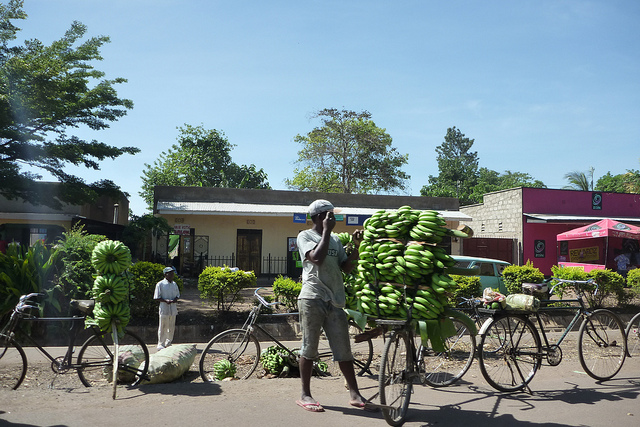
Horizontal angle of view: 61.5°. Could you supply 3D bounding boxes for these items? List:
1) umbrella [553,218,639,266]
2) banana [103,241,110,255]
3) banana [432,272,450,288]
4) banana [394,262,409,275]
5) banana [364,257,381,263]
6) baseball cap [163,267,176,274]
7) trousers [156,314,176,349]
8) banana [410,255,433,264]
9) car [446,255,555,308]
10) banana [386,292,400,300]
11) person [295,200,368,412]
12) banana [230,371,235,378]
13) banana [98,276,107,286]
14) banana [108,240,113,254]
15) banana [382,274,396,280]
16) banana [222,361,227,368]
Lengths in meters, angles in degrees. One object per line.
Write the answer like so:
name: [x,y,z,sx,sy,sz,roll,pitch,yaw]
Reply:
umbrella: [12.197,0.833,23.367,2.739,1.746,2.681,3,-9,-26]
banana: [-4.107,0.681,10.382,0.043,0.238,0.064,-17,13,25]
banana: [2.029,1.122,8.984,0.304,0.229,0.103,2,3,40]
banana: [1.380,0.932,9.059,0.208,0.115,0.067,41,-36,3]
banana: [0.929,0.813,9.265,0.265,0.088,0.022,1,3,28]
baseball cap: [-3.755,1.436,13.447,0.203,0.105,0.141,-23,12,-32]
trousers: [-3.747,2.889,13.161,0.405,0.823,0.676,-1,3,-17]
banana: [1.740,0.777,9.060,0.403,0.143,0.096,12,-11,-2]
car: [5.498,2.532,17.613,4.050,1.784,2.199,1,-2,-14]
banana: [1.242,1.395,9.077,0.256,0.078,0.085,35,-12,15]
person: [0.215,1.527,9.289,1.163,3.501,1.033,0,3,-3]
banana: [-1.705,3.160,10.509,0.146,0.132,0.039,0,-1,-21]
banana: [-4.164,1.306,10.316,0.164,0.173,0.062,2,3,40]
banana: [-4.053,0.641,10.455,0.111,0.181,0.049,2,-2,-38]
banana: [1.184,1.090,9.142,0.244,0.073,0.070,13,13,16]
banana: [-1.840,2.972,10.474,0.083,0.112,0.011,0,3,-14]
